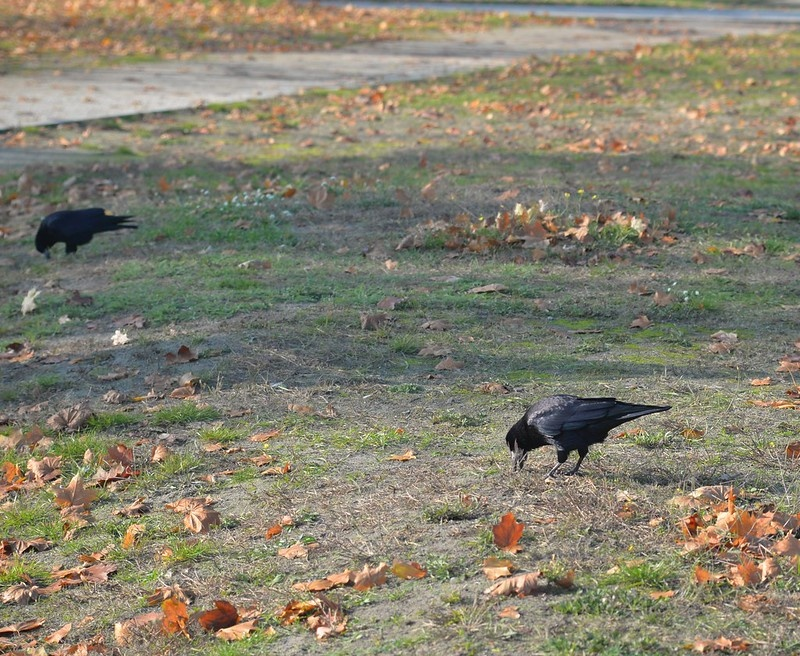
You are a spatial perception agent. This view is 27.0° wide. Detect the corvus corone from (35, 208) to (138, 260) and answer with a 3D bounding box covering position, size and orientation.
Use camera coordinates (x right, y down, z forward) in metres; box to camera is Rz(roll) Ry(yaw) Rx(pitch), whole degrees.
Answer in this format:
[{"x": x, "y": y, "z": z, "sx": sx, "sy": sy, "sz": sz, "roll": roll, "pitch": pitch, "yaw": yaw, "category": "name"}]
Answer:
[{"x": -4.297, "y": -1.404, "z": 22.808, "sx": 1.542, "sy": 0.492, "sz": 0.476, "roll": -19, "pitch": -6, "yaw": 13, "category": "corvus corone"}]
